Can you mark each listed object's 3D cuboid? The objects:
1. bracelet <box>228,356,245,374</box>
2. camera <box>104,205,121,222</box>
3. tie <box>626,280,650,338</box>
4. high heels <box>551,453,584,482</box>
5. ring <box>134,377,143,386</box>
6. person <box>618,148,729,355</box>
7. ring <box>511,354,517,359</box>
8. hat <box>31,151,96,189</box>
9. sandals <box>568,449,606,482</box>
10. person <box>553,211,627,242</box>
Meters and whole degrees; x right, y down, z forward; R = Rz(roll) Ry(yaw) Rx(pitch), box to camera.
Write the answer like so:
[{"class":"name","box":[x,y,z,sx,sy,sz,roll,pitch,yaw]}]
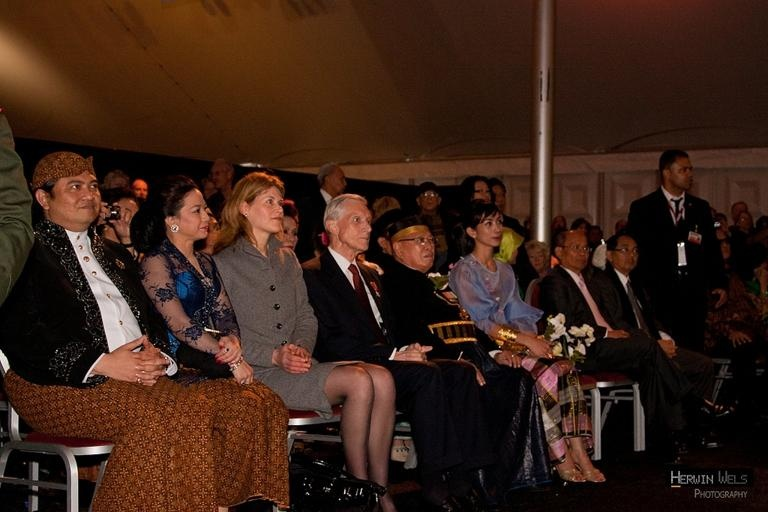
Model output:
[{"class":"bracelet","box":[-0.938,0.695,4.626,0.064,0.032,0.090,-9,33,49]},{"class":"camera","box":[-2.026,-0.325,5.402,0.089,0.086,0.155,5,3,3]},{"class":"tie","box":[2.514,0.542,7.184,0.082,0.550,0.068,-12,-14,-46]},{"class":"high heels","box":[1.478,1.659,5.740,0.242,0.227,0.226,-2,-5,14]},{"class":"ring","box":[-1.463,0.745,4.324,0.035,0.020,0.044,6,-45,-11]},{"class":"person","box":[3.081,0.248,7.653,1.004,2.568,0.792,0,17,19]},{"class":"ring","box":[1.002,0.763,5.545,0.048,0.034,0.031,0,-5,-1]},{"class":"hat","box":[-2.031,-0.555,4.499,0.273,0.160,0.292,-3,-2,-44]},{"class":"sandals","box":[1.566,1.696,5.790,0.123,0.152,0.373,-7,-2,-28]},{"class":"person","box":[3.293,-0.476,11.691,0.953,0.226,1.009,-2,0,44]}]
